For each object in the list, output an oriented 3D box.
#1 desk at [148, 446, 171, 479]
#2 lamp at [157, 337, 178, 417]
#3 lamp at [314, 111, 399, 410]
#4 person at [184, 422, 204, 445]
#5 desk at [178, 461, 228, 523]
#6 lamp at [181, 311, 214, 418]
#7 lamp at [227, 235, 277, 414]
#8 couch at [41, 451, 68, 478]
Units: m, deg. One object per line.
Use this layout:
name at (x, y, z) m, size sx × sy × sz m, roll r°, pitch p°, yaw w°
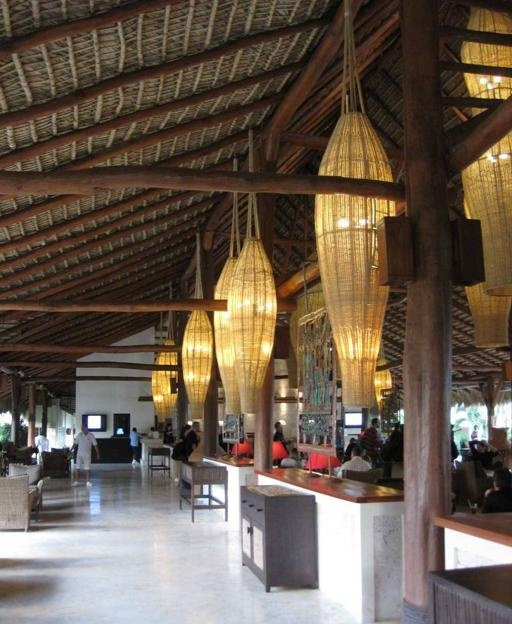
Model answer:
desk at (-2.499, 3.898, 16.078) m, size 0.454 × 0.877 × 1.227 m, roll 3°, pitch -13°, yaw -9°
lamp at (-2.096, 1.553, 14.612) m, size 0.528 × 1.928 × 1.526 m, roll 0°, pitch -7°, yaw -9°
lamp at (0.627, -0.368, 3.866) m, size 0.497 × 1.911 × 0.567 m, roll -2°, pitch -7°, yaw 6°
person at (-1.158, 2.277, 11.551) m, size 0.292 × 0.271 × 0.864 m, roll 18°, pitch -19°, yaw 6°
desk at (-0.579, 2.467, 9.030) m, size 0.495 × 0.774 × 1.453 m, roll -1°, pitch -2°, yaw 4°
lamp at (-0.868, 0.784, 9.371) m, size 0.478 × 1.636 × 0.510 m, roll -1°, pitch -7°, yaw -5°
lamp at (-0.028, 0.087, 5.707) m, size 0.443 × 1.677 × 0.365 m, roll 3°, pitch -8°, yaw -27°
couch at (-4.810, 3.674, 14.948) m, size 0.619 × 0.630 × 1.561 m, roll 1°, pitch -8°, yaw -17°
